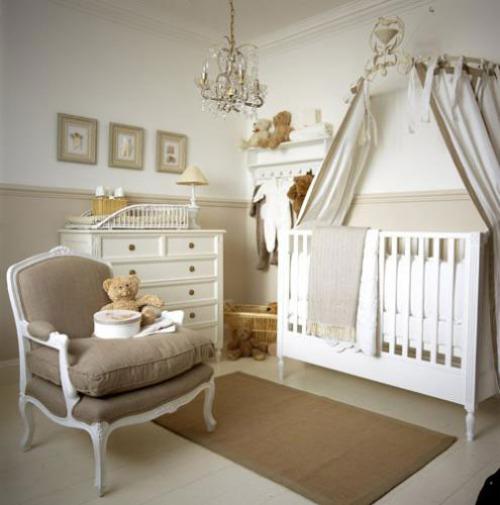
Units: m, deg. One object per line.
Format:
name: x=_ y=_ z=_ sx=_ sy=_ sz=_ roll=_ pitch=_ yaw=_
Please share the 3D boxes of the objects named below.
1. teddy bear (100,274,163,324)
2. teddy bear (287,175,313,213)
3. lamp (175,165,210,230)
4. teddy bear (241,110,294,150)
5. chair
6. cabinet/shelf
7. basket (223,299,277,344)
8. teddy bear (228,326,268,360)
teddy bear: x=-0.649 y=0.268 z=2.323 sx=0.316 sy=0.309 sz=0.231 roll=-8 pitch=-8 yaw=-26
teddy bear: x=0.402 y=-0.478 z=3.649 sx=0.086 sy=0.228 sz=0.307 roll=0 pitch=-35 yaw=-8
lamp: x=-0.507 y=-0.496 z=3.763 sx=0.258 sy=0.585 sz=0.722 roll=0 pitch=3 yaw=-8
teddy bear: x=0.187 y=-1.107 z=3.995 sx=0.282 sy=0.323 sz=0.627 roll=-2 pitch=4 yaw=-31
chair: x=-0.644 y=0.453 z=2.438 sx=0.963 sy=1.281 sz=0.909 roll=0 pitch=1 yaw=34
cabinet/shelf: x=-0.669 y=0.222 z=2.585 sx=0.383 sy=1.065 sz=0.999 roll=-3 pitch=-2 yaw=42
basket: x=0.013 y=0.610 z=3.807 sx=0.449 sy=0.223 sz=0.270 roll=-3 pitch=-3 yaw=33
teddy bear: x=-0.027 y=0.773 z=3.635 sx=0.335 sy=0.283 sz=0.257 roll=-4 pitch=0 yaw=12
